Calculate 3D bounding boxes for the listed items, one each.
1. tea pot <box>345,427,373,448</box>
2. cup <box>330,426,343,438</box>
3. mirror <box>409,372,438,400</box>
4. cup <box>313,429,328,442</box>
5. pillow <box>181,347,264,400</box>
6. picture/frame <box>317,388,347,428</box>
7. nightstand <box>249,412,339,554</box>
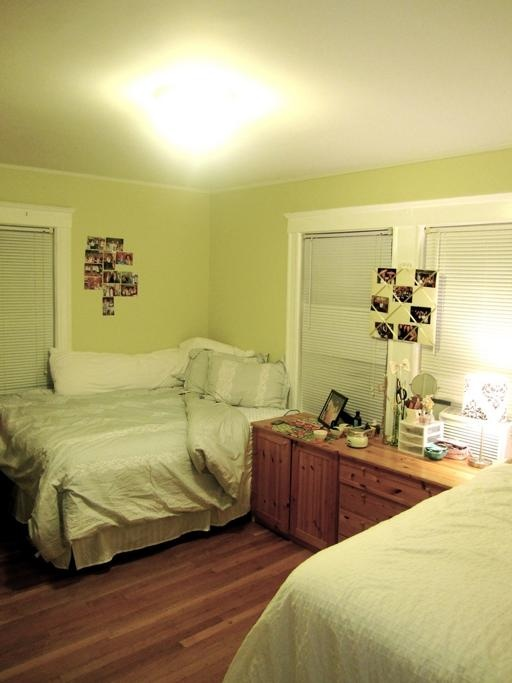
[{"bbox_3d":[0.593,0.558,2.897,0.080,0.081,0.129,-3,-8,44],"label":"tea pot"},{"bbox_3d":[0.491,0.551,3.054,0.060,0.052,0.059,14,-6,1],"label":"cup"},{"bbox_3d":[0.920,0.245,2.775,0.120,0.135,0.160,2,4,10],"label":"mirror"},{"bbox_3d":[0.387,0.560,2.989,0.057,0.048,0.058,5,4,0],"label":"cup"},{"bbox_3d":[-0.331,0.288,4.059,0.454,0.424,0.143,7,-28,12],"label":"pillow"},{"bbox_3d":[0.505,0.441,3.324,0.013,0.195,0.192,24,15,-16],"label":"picture/frame"},{"bbox_3d":[0.230,0.879,3.043,0.309,0.677,0.725,1,3,-37],"label":"nightstand"}]
